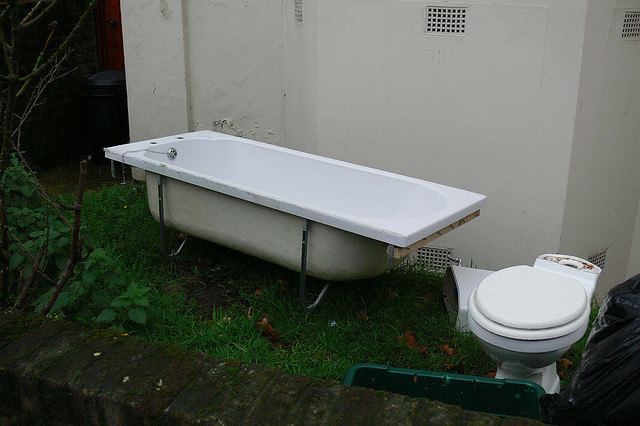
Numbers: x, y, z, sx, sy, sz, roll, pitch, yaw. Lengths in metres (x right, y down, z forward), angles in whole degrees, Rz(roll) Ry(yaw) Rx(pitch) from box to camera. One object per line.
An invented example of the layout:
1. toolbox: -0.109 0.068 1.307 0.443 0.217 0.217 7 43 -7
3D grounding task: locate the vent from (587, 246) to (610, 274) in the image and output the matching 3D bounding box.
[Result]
1. vent: 1.848 0.302 3.509 0.175 0.171 0.040 3 10 -28

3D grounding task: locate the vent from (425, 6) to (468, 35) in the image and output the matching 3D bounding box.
1. vent: 0.844 -1.294 3.542 0.269 0.171 0.056 7 25 8

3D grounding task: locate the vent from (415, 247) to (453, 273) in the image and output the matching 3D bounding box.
1. vent: 0.848 0.322 3.937 0.200 0.194 0.054 13 31 32

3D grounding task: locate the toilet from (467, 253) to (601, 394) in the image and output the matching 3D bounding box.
1. toilet: 1.076 0.492 2.699 0.477 0.538 0.790 16 29 37
